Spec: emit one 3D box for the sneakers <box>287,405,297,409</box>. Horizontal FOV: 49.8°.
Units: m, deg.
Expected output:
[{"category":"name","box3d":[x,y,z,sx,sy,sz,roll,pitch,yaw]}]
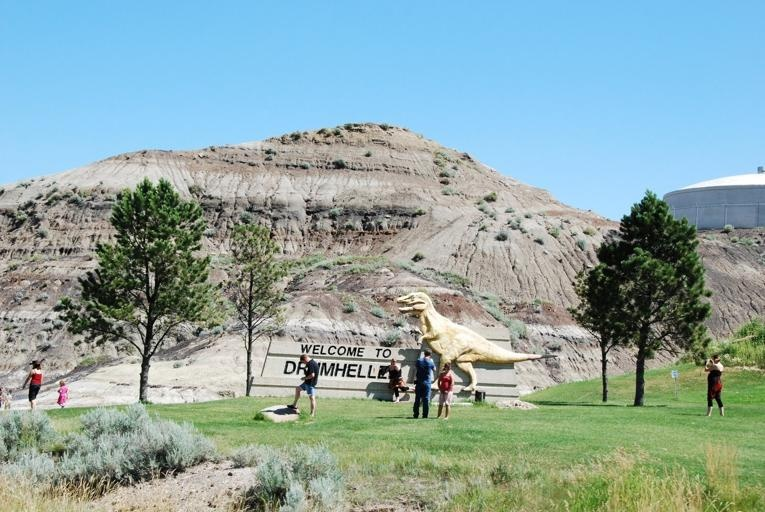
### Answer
[{"category":"sneakers","box3d":[-3.525,5.958,32.238,0.333,0.112,0.131,9,-21,15]}]
